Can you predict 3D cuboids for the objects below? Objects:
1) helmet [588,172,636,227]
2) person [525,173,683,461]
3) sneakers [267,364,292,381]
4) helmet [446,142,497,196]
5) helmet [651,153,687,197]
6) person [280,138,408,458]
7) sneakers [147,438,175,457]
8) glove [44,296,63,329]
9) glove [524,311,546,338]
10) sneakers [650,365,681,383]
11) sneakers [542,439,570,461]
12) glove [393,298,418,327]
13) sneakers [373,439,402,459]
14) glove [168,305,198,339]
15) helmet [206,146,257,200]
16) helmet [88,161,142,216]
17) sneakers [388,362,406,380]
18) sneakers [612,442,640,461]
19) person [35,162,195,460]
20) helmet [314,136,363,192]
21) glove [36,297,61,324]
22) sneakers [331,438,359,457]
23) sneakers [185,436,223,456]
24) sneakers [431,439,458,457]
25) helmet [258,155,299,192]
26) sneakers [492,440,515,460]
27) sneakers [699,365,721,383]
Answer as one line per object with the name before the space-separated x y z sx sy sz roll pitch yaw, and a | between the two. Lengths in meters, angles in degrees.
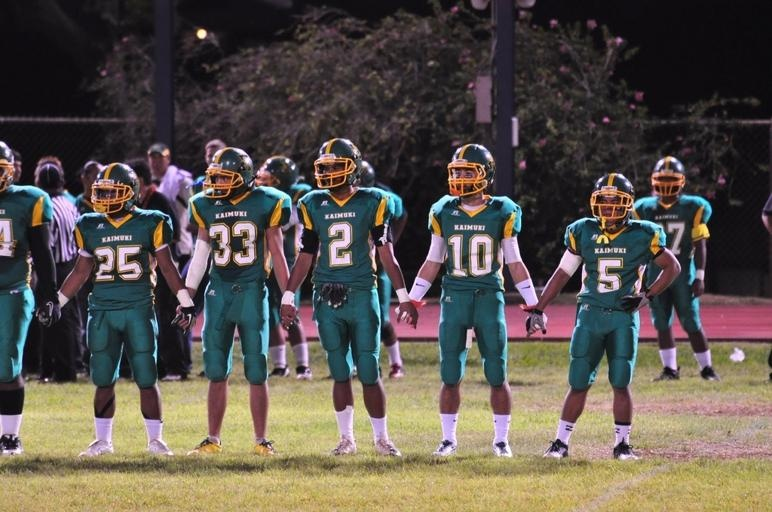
helmet | 2.342 -0.512 13.029 0.430 0.561 0.605 5 -16 7
person | 2.279 0.633 12.841 1.434 2.892 0.951 2 11 11
sneakers | -1.407 1.518 16.137 0.334 0.143 0.111 6 -7 -35
helmet | 1.017 -0.979 13.214 0.592 0.494 0.439 -11 18 -26
helmet | 3.651 -1.038 15.799 0.394 0.451 0.537 1 9 19
person | -0.408 0.419 13.016 1.306 3.254 0.779 3 11 18
sneakers | -2.335 2.013 12.942 0.340 0.152 0.128 1 -2 22
glove | -3.561 0.572 12.984 0.229 0.287 0.151 -5 12 -24
glove | 1.599 0.773 13.062 0.214 0.359 0.161 6 -6 18
sneakers | 3.608 1.527 15.843 0.398 0.167 0.146 0 -5 -3
sneakers | 1.798 1.984 12.862 0.251 0.181 0.318 1 10 8
glove | 0.233 0.603 13.086 0.215 0.306 0.403 0 10 -1
sneakers | 0.035 2.018 12.912 0.276 0.172 0.325 -1 10 -2
glove | -2.128 0.677 13.162 0.271 0.272 0.084 4 8 6
helmet | -1.599 -0.933 13.274 0.581 0.460 0.416 -15 16 -39
helmet | -2.883 -0.768 13.158 0.458 0.504 0.628 4 12 17
sneakers | 0.151 1.515 16.206 0.099 0.193 0.278 -3 -23 4
sneakers | 2.490 2.028 12.810 0.148 0.130 0.286 1 -12 -4
person | -2.746 0.557 12.966 1.304 2.990 0.872 -2 11 -7
helmet | -0.430 -0.960 13.193 0.452 0.479 0.626 -9 -10 33
glove | -3.562 0.578 12.979 0.205 0.277 0.121 5 -5 14
sneakers | -0.428 2.023 13.047 0.304 0.132 0.118 8 -11 -39
sneakers | -1.923 2.008 12.958 0.380 0.161 0.150 5 -7 -21
sneakers | 0.626 2.013 12.956 0.237 0.168 0.384 1 10 7
helmet | -1.418 -1.094 16.274 0.511 0.411 0.372 1 12 1
sneakers | 1.240 2.013 12.921 0.209 0.186 0.362 1 10 6
sneakers | 4.176 1.508 15.780 0.205 0.207 0.139 -3 -4 17
